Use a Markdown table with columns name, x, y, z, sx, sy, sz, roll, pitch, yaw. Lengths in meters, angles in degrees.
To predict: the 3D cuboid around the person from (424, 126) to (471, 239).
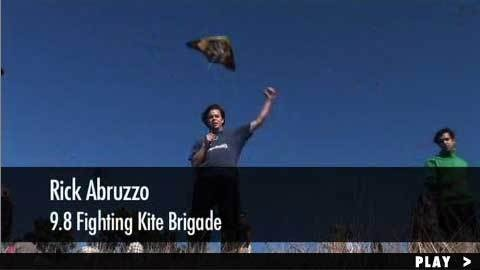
| name | x | y | z | sx | sy | sz | roll | pitch | yaw |
| --- | --- | --- | --- | --- | --- | --- | --- | --- | --- |
| person | 1.937 | 0.460 | 7.069 | 0.413 | 0.980 | 0.479 | -6 | -18 | 16 |

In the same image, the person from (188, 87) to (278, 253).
| name | x | y | z | sx | sy | sz | roll | pitch | yaw |
| --- | --- | --- | --- | --- | --- | --- | --- | --- | --- |
| person | -0.118 | 0.334 | 7.049 | 0.719 | 1.428 | 0.544 | 0 | -18 | -4 |
